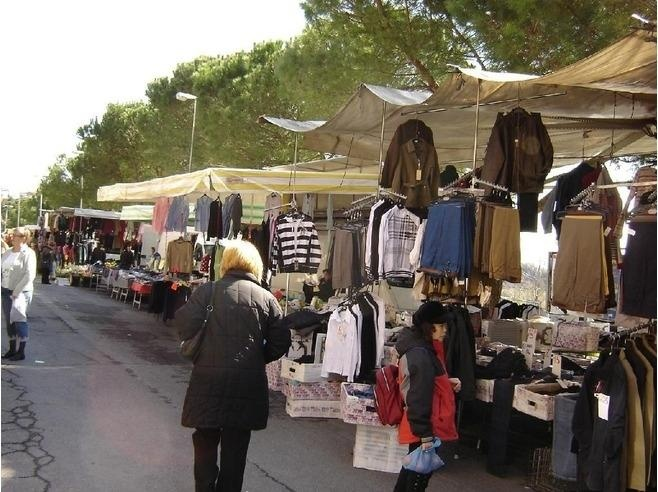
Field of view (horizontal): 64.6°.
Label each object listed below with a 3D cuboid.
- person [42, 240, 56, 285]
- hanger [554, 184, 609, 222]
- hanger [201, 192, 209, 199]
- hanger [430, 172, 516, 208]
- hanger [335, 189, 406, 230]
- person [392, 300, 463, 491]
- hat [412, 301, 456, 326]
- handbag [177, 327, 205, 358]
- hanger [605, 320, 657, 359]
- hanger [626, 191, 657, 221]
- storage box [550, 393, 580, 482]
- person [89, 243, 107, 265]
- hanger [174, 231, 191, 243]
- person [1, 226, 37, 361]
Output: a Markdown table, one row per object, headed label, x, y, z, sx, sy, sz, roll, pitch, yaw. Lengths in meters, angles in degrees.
| label | x | y | z | sx | sy | sz | roll | pitch | yaw |
| --- | --- | --- | --- | --- | --- | --- | --- | --- | --- |
| person | -11.568 | 0.577 | 21.665 | 0.493 | 1.884 | 0.488 | 5 | 19 | -15 |
| hanger | 2.495 | -0.454 | 5.220 | 0.313 | 0.360 | 0.635 | 5 | -11 | 0 |
| hanger | -2.522 | -1.047 | 10.635 | 0.155 | 0.133 | 0.025 | 2 | 17 | 1 |
| hanger | 1.592 | -0.602 | 5.664 | 0.695 | 0.403 | 0.592 | -7 | 13 | -28 |
| hanger | 0.517 | -0.625 | 7.577 | 0.776 | 0.293 | 0.500 | -23 | 23 | -32 |
| person | 0.781 | 1.043 | 4.155 | 0.431 | 1.188 | 0.415 | 4 | -2 | -21 |
| hat | 0.833 | 0.552 | 4.287 | 0.235 | 0.150 | 0.187 | -9 | 3 | -9 |
| handbag | -1.002 | 0.713 | 3.797 | 0.078 | 0.231 | 0.155 | 15 | 7 | 21 |
| hanger | 2.747 | 0.817 | 4.748 | 0.541 | 0.233 | 0.414 | 10 | -18 | -18 |
| hanger | 2.701 | -0.356 | 4.497 | 0.209 | 0.306 | 0.297 | 2 | -3 | 37 |
| storage box | 2.098 | 1.721 | 4.647 | 0.193 | 0.718 | 0.127 | 2 | -2 | 26 |
| person | -9.518 | 0.386 | 21.708 | 0.856 | 0.757 | 0.445 | 2 | -2 | 41 |
| hanger | -3.590 | -0.238 | 12.872 | 0.260 | 0.365 | 0.042 | 0 | 9 | -4 |
| person | -4.625 | 0.696 | 7.745 | 0.424 | 2.083 | 0.572 | 4 | -2 | -32 |
